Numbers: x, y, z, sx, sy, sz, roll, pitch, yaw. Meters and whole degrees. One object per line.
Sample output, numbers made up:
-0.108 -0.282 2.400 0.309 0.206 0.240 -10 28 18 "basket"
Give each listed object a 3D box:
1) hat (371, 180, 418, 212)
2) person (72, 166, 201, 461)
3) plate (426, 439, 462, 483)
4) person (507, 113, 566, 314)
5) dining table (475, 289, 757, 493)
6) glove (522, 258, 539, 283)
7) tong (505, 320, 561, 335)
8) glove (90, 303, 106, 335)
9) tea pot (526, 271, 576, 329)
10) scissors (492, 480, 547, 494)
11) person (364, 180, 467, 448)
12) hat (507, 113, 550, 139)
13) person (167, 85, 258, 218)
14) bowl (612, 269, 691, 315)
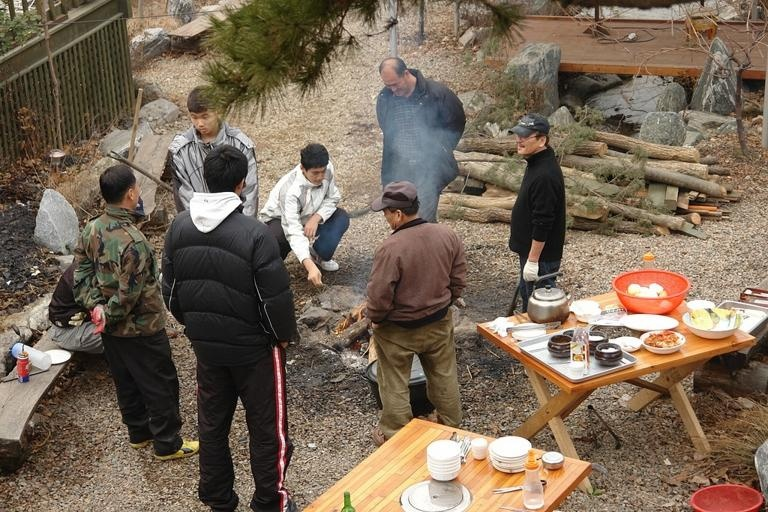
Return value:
0.086 -0.485 5.429 0.346 0.162 0.226 6 31 11 "hat"
-2.093 0.544 5.743 0.872 2.507 1.196 -2 -7 35 "person"
0.411 1.392 4.608 0.250 0.209 0.274 -1 28 5 "plate"
1.512 -0.454 6.584 0.815 1.620 0.626 -1 9 -11 "person"
1.846 1.021 5.677 1.832 1.056 1.760 -18 23 -29 "dining table"
1.400 0.144 6.361 0.144 0.185 0.197 -1 -1 7 "glove"
1.273 0.602 5.743 0.584 0.105 0.153 -5 2 1 "tong"
-2.400 0.530 5.598 0.104 0.260 0.204 -2 -4 -36 "glove"
1.458 0.377 5.870 0.431 0.407 0.392 -2 19 1 "tea pot"
0.915 1.555 4.461 0.392 0.061 0.125 -6 15 -1 "scissors"
0.184 0.410 5.822 0.951 2.077 0.944 7 12 34 "person"
1.352 -1.213 6.235 0.332 0.166 0.224 0 16 -9 "hat"
-1.663 -1.069 6.690 0.662 1.999 0.693 -4 9 -30 "person"
2.337 0.320 5.861 0.482 0.170 0.475 -6 29 3 "bowl"
